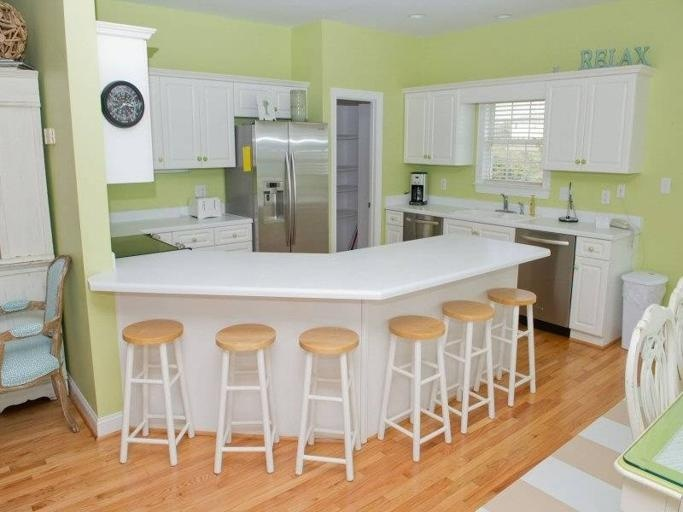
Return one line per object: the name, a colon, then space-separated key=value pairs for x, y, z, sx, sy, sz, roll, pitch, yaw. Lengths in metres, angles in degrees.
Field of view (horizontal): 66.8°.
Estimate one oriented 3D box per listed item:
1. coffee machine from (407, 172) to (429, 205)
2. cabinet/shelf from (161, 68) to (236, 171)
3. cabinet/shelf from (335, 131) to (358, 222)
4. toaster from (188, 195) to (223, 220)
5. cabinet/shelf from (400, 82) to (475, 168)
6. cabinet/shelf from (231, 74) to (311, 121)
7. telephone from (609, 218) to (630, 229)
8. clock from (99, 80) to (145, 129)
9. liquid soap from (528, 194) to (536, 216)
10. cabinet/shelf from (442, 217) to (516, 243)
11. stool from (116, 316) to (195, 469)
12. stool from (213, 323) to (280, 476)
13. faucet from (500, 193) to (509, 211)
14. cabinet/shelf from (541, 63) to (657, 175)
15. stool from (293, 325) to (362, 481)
coffee machine: x=0.966 y=-0.873 z=6.658 sx=0.284 sy=0.398 sz=0.212 roll=8 pitch=17 yaw=33
cabinet/shelf: x=-1.495 y=-1.419 z=5.310 sx=0.995 sy=1.102 sz=0.522 roll=-7 pitch=12 yaw=-39
cabinet/shelf: x=0.085 y=-1.062 z=7.207 sx=0.298 sy=1.314 sz=0.312 roll=-1 pitch=15 yaw=1
toaster: x=-1.457 y=-0.541 z=5.583 sx=0.270 sy=0.206 sz=0.274 roll=-8 pitch=14 yaw=-39
cabinet/shelf: x=1.189 y=-1.607 z=6.249 sx=0.588 sy=1.219 sz=1.049 roll=-6 pitch=6 yaw=-45
cabinet/shelf: x=-0.796 y=-1.738 z=5.711 sx=0.828 sy=0.424 sz=0.116 roll=-10 pitch=17 yaw=-31
telephone: x=2.734 y=-0.319 z=5.084 sx=0.109 sy=0.060 sz=0.154 roll=0 pitch=10 yaw=-6
clock: x=-1.800 y=-1.248 z=4.306 sx=0.074 sy=0.328 sz=0.323 roll=10 pitch=20 yaw=-39
liquid soap: x=2.128 y=-0.566 z=5.754 sx=0.073 sy=0.214 sz=0.125 roll=4 pitch=16 yaw=19
cabinet/shelf: x=1.493 y=-0.294 z=5.635 sx=0.333 sy=0.403 sz=0.591 roll=-6 pitch=13 yaw=-31
stool: x=-1.270 y=0.876 z=3.436 sx=0.509 sy=0.897 sz=0.453 roll=-2 pitch=15 yaw=-4
stool: x=-0.624 y=0.902 z=3.368 sx=0.451 sy=0.900 sz=0.453 roll=-3 pitch=15 yaw=-8
faucet: x=1.904 y=-0.626 z=6.010 sx=0.089 sy=0.197 sz=0.150 roll=0 pitch=14 yaw=4
cabinet/shelf: x=2.514 y=-1.326 z=4.968 sx=0.480 sy=1.076 sz=0.983 roll=-8 pitch=14 yaw=-31
stool: x=-0.090 y=0.921 z=3.338 sx=0.400 sy=0.902 sz=0.429 roll=0 pitch=15 yaw=6
